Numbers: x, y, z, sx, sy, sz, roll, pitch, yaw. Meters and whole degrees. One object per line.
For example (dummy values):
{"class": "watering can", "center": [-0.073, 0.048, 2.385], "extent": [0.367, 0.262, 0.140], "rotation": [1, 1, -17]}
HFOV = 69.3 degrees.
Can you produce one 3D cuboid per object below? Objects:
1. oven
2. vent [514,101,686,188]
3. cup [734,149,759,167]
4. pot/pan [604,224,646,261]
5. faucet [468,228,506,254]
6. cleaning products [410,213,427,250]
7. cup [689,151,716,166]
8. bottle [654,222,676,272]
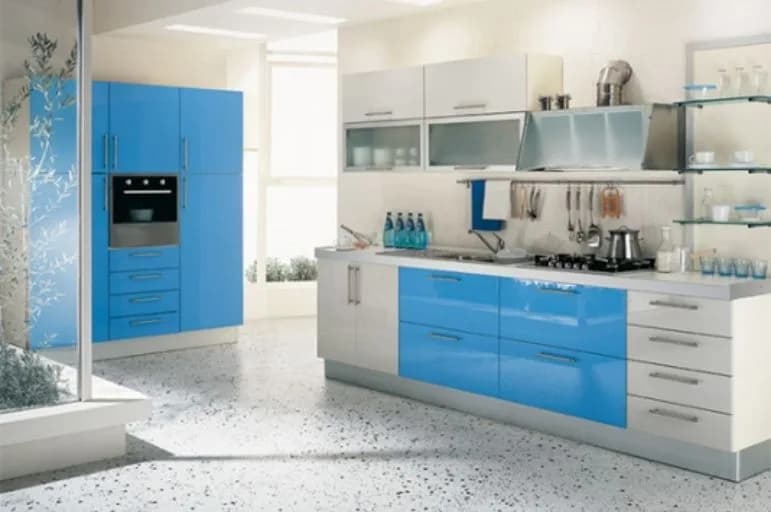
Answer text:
{"class": "oven", "center": [-2.722, -0.502, 5.990], "extent": [0.604, 0.831, 0.855], "rotation": [10, 11, 44]}
{"class": "vent", "center": [1.450, -0.933, 4.458], "extent": [1.131, 0.463, 0.585], "rotation": [-4, 15, -14]}
{"class": "cup", "center": [2.418, -0.657, 3.773], "extent": [0.154, 0.101, 0.148], "rotation": [0, 2, 0]}
{"class": "pot/pan", "center": [1.818, -0.107, 4.257], "extent": [0.305, 0.267, 0.270], "rotation": [0, 3, 28]}
{"class": "faucet", "center": [0.914, -0.151, 5.218], "extent": [0.383, 0.209, 0.107], "rotation": [7, 11, 43]}
{"class": "cleaning products", "center": [0.332, -0.259, 5.580], "extent": [0.171, 0.346, 0.329], "rotation": [1, 8, 5]}
{"class": "cup", "center": [2.225, -0.682, 3.918], "extent": [0.146, 0.090, 0.141], "rotation": [0, 2, 0]}
{"class": "bottle", "center": [2.052, -0.062, 4.076], "extent": [0.125, 0.295, 0.431], "rotation": [4, 8, 25]}
